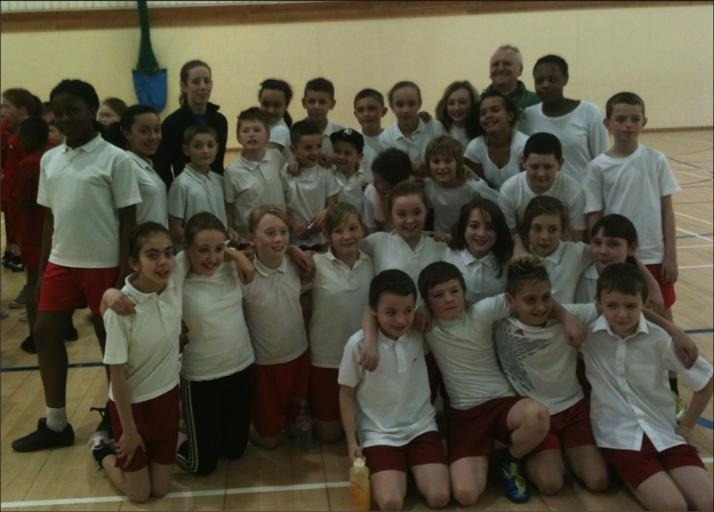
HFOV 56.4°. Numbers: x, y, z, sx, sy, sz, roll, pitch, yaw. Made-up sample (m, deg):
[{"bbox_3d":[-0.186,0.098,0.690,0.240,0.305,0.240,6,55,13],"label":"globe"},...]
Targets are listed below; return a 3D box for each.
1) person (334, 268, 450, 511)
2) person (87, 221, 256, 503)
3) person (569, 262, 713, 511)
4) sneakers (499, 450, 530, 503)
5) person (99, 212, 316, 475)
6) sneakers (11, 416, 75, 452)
[{"bbox_3d":[0.204,0.771,3.907,0.636,1.265,0.610,-2,13,3],"label":"person"},{"bbox_3d":[-1.231,0.612,3.857,0.610,1.569,0.353,-9,15,-24],"label":"person"},{"bbox_3d":[1.666,0.742,3.833,0.762,1.313,0.543,4,15,28],"label":"person"},{"bbox_3d":[0.918,1.313,3.941,0.095,0.168,0.268,-3,3,0],"label":"sneakers"},{"bbox_3d":[-0.921,0.563,4.010,1.499,1.659,0.486,-5,4,-45],"label":"person"},{"bbox_3d":[-1.963,1.148,4.261,0.411,0.191,0.149,2,4,-13],"label":"sneakers"}]
